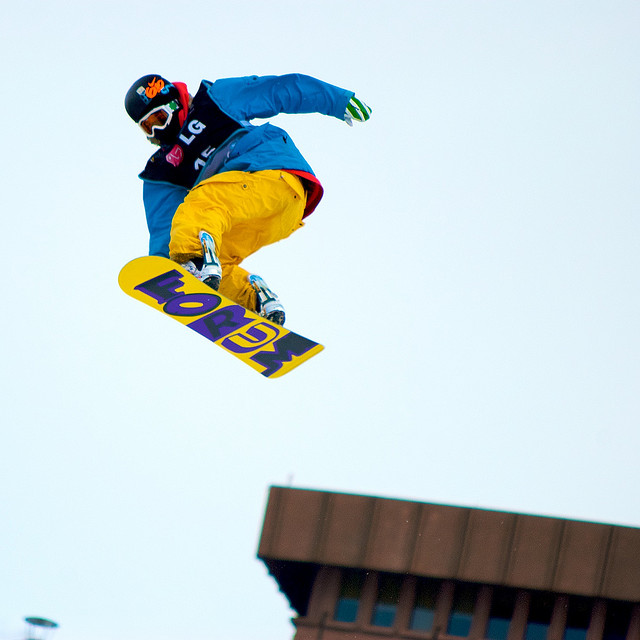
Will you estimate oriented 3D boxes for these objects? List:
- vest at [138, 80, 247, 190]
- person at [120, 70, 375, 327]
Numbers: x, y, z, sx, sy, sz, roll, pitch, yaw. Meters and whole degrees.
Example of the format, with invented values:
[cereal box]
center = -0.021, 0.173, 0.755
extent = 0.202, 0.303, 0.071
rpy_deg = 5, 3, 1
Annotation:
[vest]
center = -0.874, -1.291, 8.860
extent = 0.297, 0.726, 0.755
rpy_deg = 22, -18, -40
[person]
center = -0.617, -0.876, 8.371
extent = 0.672, 0.981, 1.340
rpy_deg = 10, 17, -40
